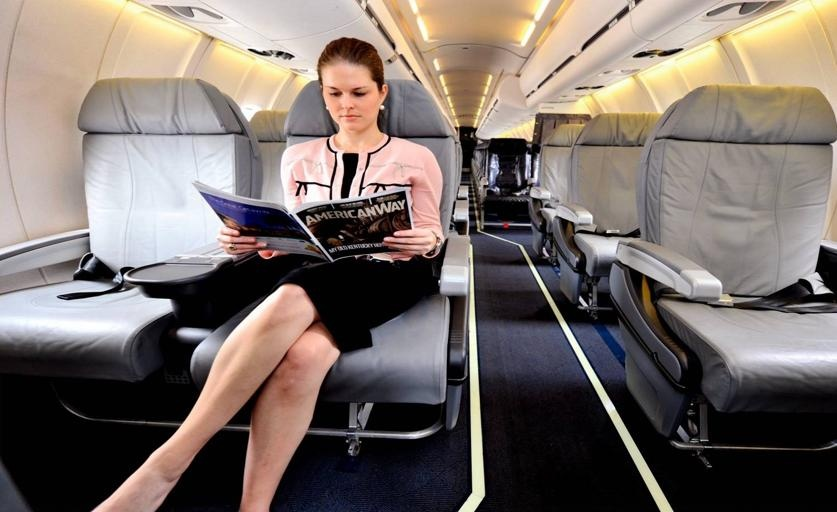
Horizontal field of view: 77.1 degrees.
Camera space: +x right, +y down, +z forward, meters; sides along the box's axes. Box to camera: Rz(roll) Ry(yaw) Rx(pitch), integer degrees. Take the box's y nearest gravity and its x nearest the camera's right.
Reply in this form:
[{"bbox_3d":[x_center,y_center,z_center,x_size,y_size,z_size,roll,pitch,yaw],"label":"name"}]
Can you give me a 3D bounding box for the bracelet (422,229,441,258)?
[{"bbox_3d":[0.108,-0.081,3.513,0.137,0.146,0.159,-4,48,2],"label":"bracelet"}]
